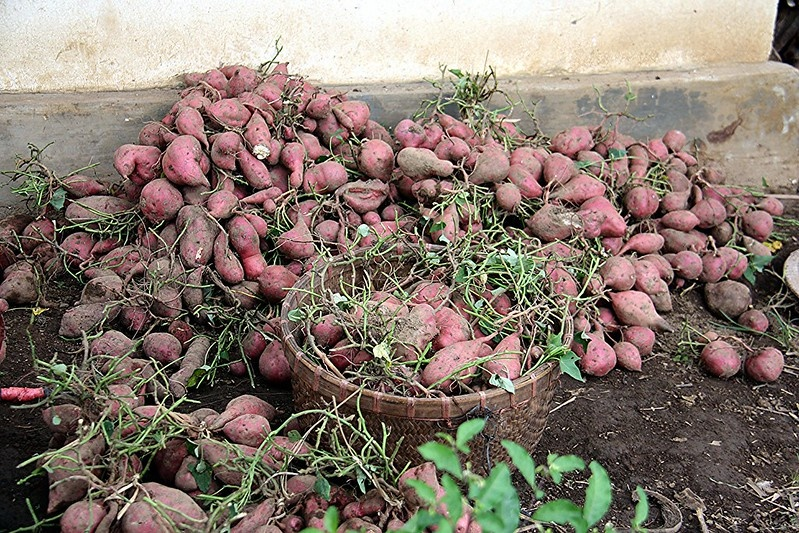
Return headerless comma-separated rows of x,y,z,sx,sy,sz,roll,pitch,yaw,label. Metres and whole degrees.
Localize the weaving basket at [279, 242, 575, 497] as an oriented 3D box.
0.096,0.463,3.197,1.464,0.726,1.299,18,46,17,weaving basket
